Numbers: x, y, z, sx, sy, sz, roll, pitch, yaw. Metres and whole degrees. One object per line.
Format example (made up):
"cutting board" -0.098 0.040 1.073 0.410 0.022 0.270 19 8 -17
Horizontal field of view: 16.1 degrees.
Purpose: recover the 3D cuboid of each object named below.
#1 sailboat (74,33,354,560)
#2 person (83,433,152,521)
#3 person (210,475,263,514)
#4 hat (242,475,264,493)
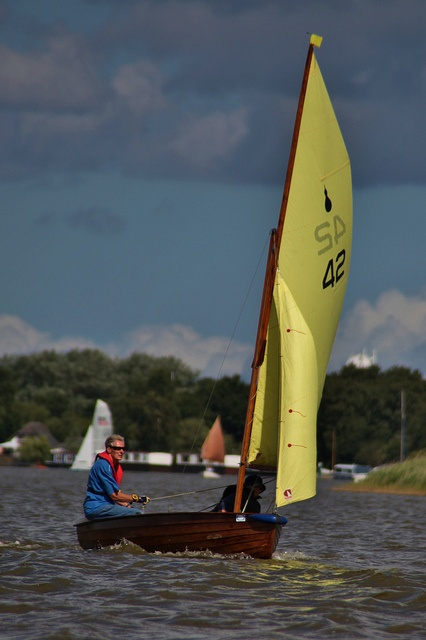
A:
"sailboat" 0.838 -0.392 19.843 1.626 7.170 3.244 0 -9 42
"person" -1.171 2.031 19.225 0.733 1.123 0.670 -4 -13 33
"person" 0.411 2.177 19.098 0.606 0.529 0.917 8 -8 -11
"hat" 0.565 2.078 19.188 0.172 0.157 0.267 25 -17 -30
